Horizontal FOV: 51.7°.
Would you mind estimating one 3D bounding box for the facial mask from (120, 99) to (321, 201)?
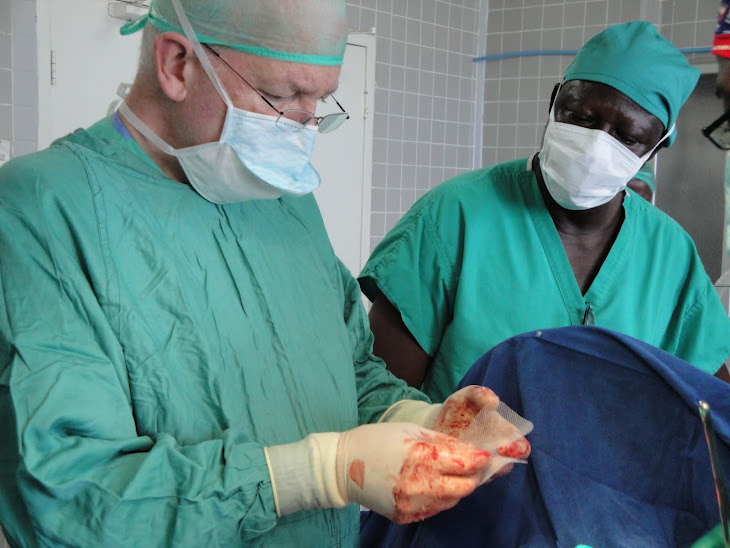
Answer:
[{"bbox_3d":[-0.264,-0.223,1.492,0.283,0.156,0.223,38,8,7],"label":"facial mask"}]

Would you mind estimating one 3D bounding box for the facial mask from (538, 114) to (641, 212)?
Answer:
[{"bbox_3d":[0.567,-0.263,1.912,0.185,0.154,0.241,22,32,1],"label":"facial mask"}]

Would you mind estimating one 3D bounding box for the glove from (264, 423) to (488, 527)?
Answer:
[{"bbox_3d":[0.031,0.342,1.338,0.308,0.141,0.198,-11,4,16],"label":"glove"}]

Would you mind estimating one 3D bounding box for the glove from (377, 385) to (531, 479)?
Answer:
[{"bbox_3d":[0.190,0.269,1.460,0.200,0.122,0.171,4,6,2],"label":"glove"}]
